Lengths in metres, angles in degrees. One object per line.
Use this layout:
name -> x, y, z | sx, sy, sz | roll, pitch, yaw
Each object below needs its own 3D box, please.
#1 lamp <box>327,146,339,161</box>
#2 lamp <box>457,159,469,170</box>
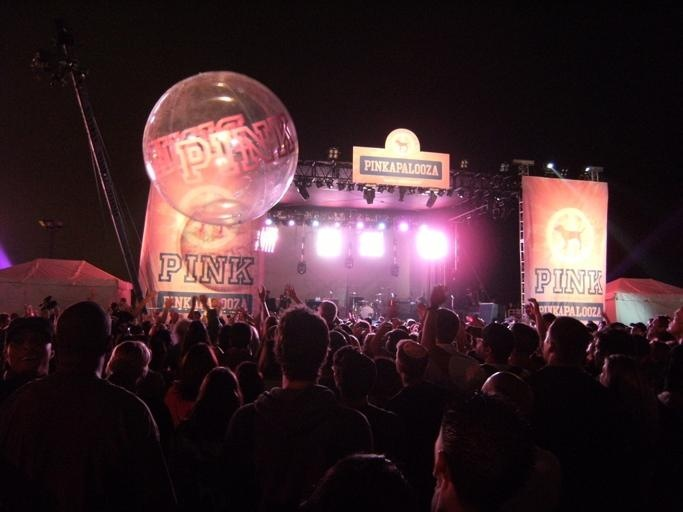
lamp -> -0.238, -2.802, 16.525 | 0.304, 0.332, 0.317 | 1, 4, -1
lamp -> 3.463, -2.592, 17.105 | 0.255, 0.313, 0.265 | 5, 4, -4
